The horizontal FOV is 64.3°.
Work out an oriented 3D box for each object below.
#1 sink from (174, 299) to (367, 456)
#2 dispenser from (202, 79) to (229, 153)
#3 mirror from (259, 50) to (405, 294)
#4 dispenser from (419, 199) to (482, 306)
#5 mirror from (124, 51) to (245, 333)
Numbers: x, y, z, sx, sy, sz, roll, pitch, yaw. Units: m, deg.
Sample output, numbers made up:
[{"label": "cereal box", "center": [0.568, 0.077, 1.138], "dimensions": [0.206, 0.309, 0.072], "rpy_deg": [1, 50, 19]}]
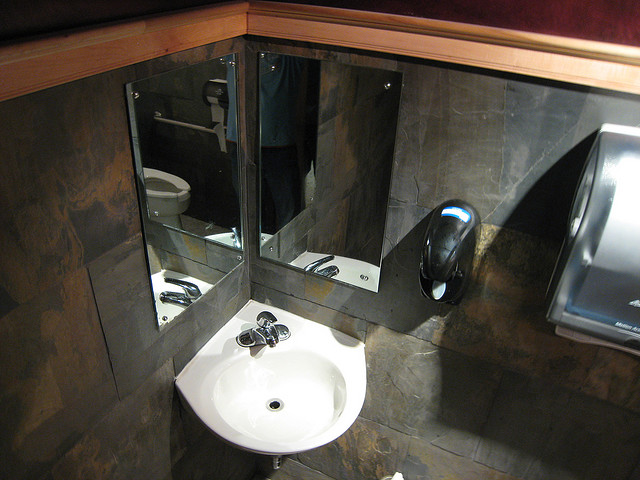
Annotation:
[{"label": "sink", "center": [-0.148, 0.537, 1.891], "dimensions": [0.620, 0.184, 0.610], "rpy_deg": [21, 38, 21]}, {"label": "dispenser", "center": [-0.337, -0.423, 1.673], "dimensions": [0.047, 0.175, 0.077], "rpy_deg": [16, 37, 19]}, {"label": "mirror", "center": [0.009, -0.227, 1.794], "dimensions": [0.524, 0.781, 0.110], "rpy_deg": [15, 34, 15]}, {"label": "dispenser", "center": [0.396, 0.057, 1.638], "dimensions": [0.197, 0.359, 0.196], "rpy_deg": [-7, 29, -22]}, {"label": "mirror", "center": [-0.411, -0.166, 1.678], "dimensions": [0.099, 0.775, 0.564], "rpy_deg": [18, 35, 20]}]
